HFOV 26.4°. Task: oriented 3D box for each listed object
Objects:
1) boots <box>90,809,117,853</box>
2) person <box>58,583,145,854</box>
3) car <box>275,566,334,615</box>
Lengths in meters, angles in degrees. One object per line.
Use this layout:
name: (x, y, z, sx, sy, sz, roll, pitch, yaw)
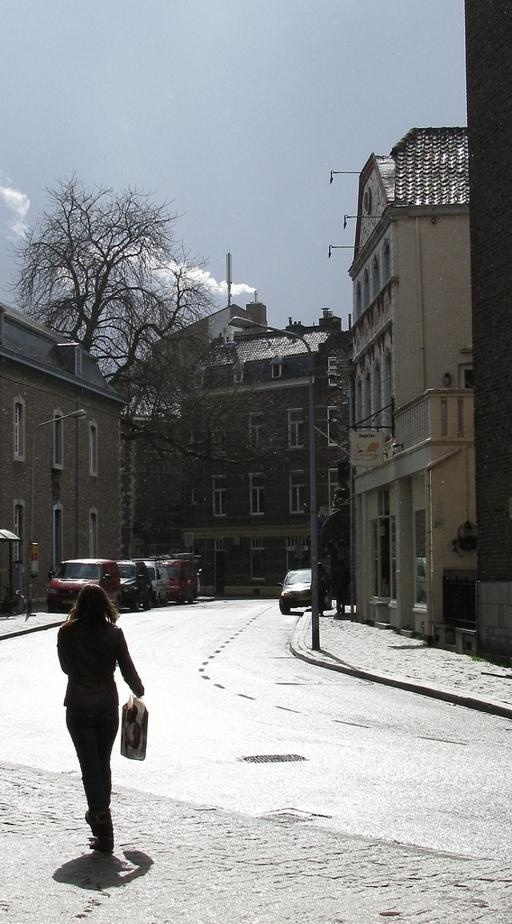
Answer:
boots: (-0.762, 1.817, 5.410, 0.106, 0.242, 0.173, -1, 5, -15)
person: (-0.794, 1.310, 5.773, 0.434, 1.326, 0.669, 2, -7, -22)
car: (1.556, 4.483, 38.950, 1.223, 1.226, 2.767, -5, -15, 3)
